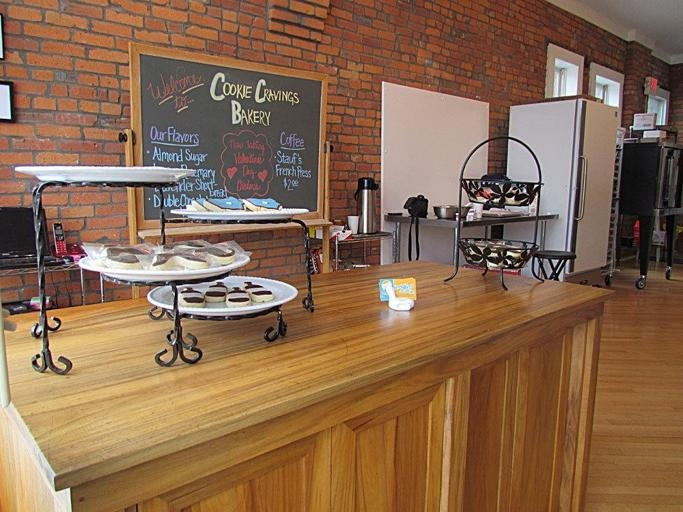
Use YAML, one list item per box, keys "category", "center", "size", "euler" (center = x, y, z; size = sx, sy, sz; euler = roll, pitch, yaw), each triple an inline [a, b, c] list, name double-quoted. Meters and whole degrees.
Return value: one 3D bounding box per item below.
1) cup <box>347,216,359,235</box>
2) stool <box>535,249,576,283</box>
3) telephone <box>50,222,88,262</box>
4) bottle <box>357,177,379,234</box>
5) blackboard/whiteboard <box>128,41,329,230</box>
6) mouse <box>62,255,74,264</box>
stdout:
- category: "cup"
  center: [0.103, -0.259, 4.136]
  size: [0.095, 0.148, 0.158]
  euler: [-1, 13, 0]
- category: "stool"
  center: [2.044, 0.085, 4.661]
  size: [0.364, 0.343, 0.358]
  euler: [3, 9, 36]
- category: "telephone"
  center: [-1.567, -0.079, 2.812]
  size: [0.362, 0.134, 0.111]
  euler: [31, 24, 33]
- category: "bottle"
  center: [0.209, -0.418, 4.138]
  size: [0.171, 0.459, 0.145]
  euler: [-1, 14, -1]
- category: "blackboard/whiteboard"
  center: [-0.750, -0.790, 3.131]
  size: [1.724, 1.101, 0.055]
  euler: [-6, 14, -37]
- category: "mouse"
  center: [-1.526, 0.022, 2.757]
  size: [0.043, 0.021, 0.055]
  euler: [-1, 10, -35]
